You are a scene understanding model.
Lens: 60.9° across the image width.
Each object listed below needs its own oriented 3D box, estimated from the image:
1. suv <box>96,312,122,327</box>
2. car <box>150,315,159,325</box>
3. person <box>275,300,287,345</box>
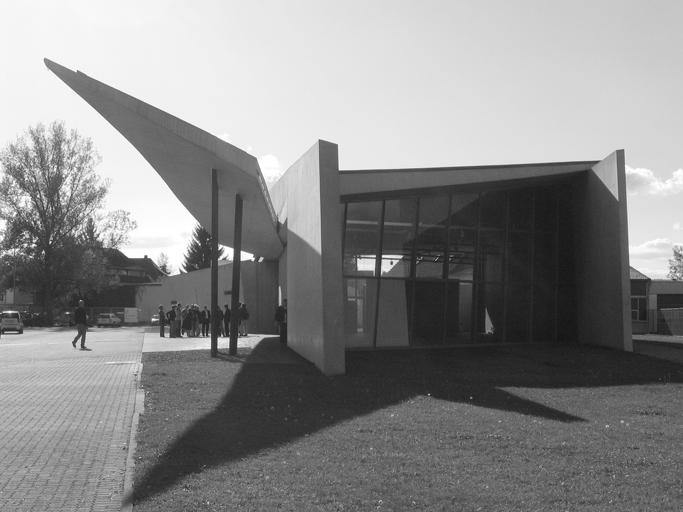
[{"bbox_3d":[-20.005,5.631,50.607,1.035,1.056,1.954,0,0,-2],"label":"suv"},{"bbox_3d":[-15.172,5.278,47.617,0.774,0.863,1.793,2,-13,-24],"label":"car"},{"bbox_3d":[-2.350,2.634,22.882,0.425,1.778,1.549,1,-1,-7],"label":"person"}]
